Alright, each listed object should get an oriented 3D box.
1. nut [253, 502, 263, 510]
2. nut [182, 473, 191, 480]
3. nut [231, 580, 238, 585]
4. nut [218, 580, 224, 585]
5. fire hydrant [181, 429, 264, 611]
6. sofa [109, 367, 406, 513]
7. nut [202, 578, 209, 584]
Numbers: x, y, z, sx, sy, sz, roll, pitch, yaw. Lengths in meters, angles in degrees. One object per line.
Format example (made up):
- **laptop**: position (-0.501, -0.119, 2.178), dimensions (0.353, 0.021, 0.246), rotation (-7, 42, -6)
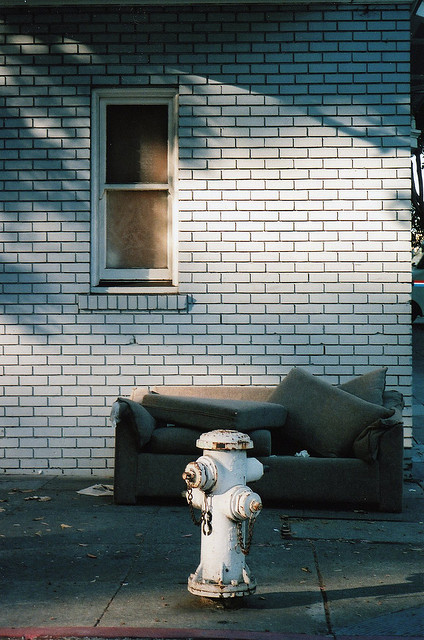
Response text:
- **nut**: position (0.218, 0.888, 4.173), dimensions (0.038, 0.012, 0.035), rotation (1, -40, -2)
- **nut**: position (-0.129, 0.753, 4.211), dimensions (0.022, 0.037, 0.065), rotation (-1, 3, -27)
- **nut**: position (0.106, 1.271, 4.223), dimensions (0.030, 0.017, 0.019), rotation (0, 3, -10)
- **nut**: position (0.045, 1.269, 4.216), dimensions (0.022, 0.032, 0.018), rotation (5, -28, 9)
- **fire hydrant**: position (0.053, 0.985, 4.333), dimensions (0.383, 0.865, 0.385), rotation (1, 3, 3)
- **sofa**: position (0.394, 0.873, 6.588), dimensions (2.148, 0.853, 0.929), rotation (-1, 5, 10)
- **nut**: position (-0.036, 1.268, 4.243), dimensions (0.037, 0.021, 0.019), rotation (2, 4, 16)
